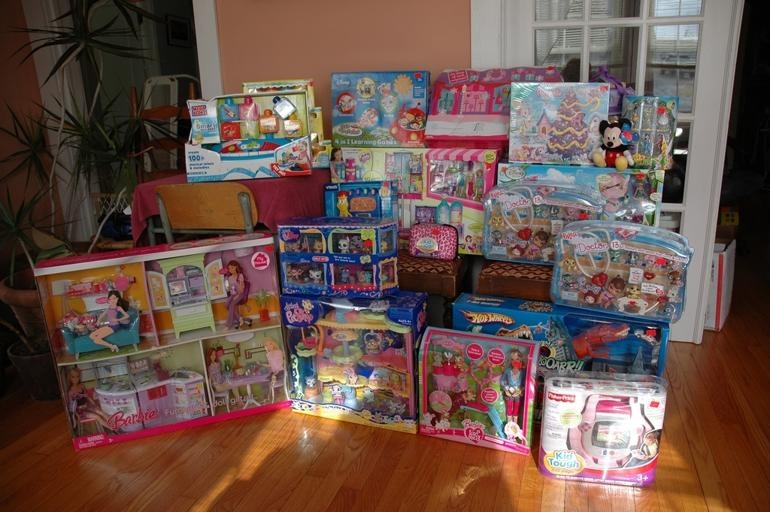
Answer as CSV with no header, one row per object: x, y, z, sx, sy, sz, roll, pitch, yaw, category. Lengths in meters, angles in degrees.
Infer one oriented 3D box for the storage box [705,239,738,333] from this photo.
2.405,0.198,3.991,0.161,0.576,0.416,10,21,32,storage box
